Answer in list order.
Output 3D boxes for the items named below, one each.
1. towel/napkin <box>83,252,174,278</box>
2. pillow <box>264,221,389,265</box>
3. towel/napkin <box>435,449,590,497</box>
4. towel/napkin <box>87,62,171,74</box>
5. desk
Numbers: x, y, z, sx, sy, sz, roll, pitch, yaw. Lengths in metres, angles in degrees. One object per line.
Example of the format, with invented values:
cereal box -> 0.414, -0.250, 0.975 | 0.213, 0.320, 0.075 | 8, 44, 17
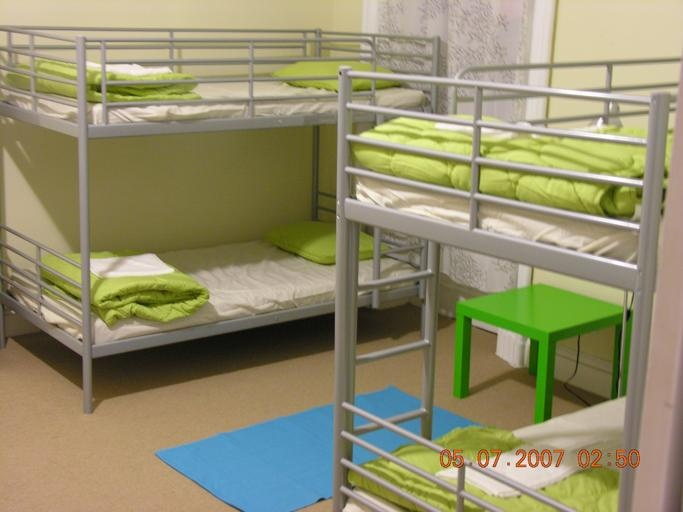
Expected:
towel/napkin -> -1.306, 0.065, 3.851 | 0.486, 0.063, 0.479 | -6, 19, -18
pillow -> -0.146, -0.125, 4.801 | 0.420, 0.162, 0.705 | -4, 9, -38
towel/napkin -> 0.568, 0.670, 1.920 | 0.289, 0.027, 0.284 | -6, 9, -32
towel/napkin -> -1.223, -1.058, 3.508 | 0.452, 0.061, 0.376 | -15, 23, -38
desk -> 1.162, 0.453, 3.676 | 0.839, 0.608, 0.834 | -8, 15, -31
